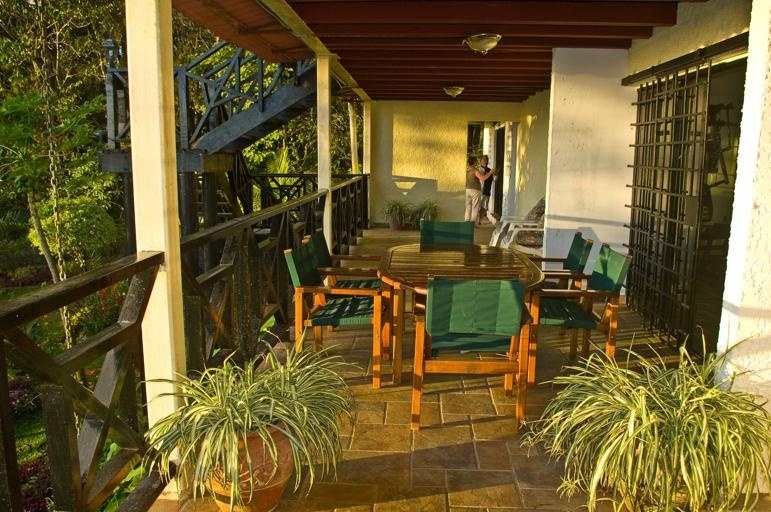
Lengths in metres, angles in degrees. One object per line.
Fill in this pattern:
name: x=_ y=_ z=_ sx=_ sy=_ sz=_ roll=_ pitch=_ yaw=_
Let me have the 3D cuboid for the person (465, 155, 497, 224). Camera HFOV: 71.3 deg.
person: x=2.085 y=-1.476 z=12.031 sx=0.570 sy=1.532 sz=1.448 roll=3 pitch=10 yaw=10
